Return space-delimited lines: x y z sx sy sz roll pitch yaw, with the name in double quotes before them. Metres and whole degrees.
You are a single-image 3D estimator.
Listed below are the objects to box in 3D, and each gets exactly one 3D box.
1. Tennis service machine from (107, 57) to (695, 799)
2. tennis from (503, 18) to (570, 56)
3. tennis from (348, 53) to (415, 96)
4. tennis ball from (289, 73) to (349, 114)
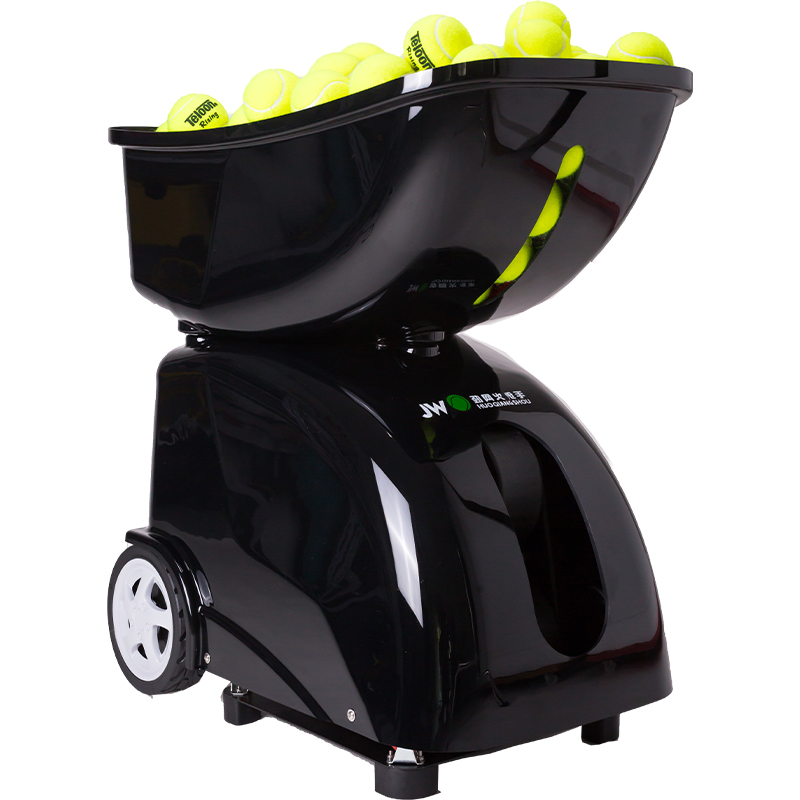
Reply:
"Tennis service machine" 0.138 0.007 1.406 0.938 0.690 0.913 5 -84 44
"tennis" 0.138 -0.356 0.893 0.068 0.125 0.032 5 -56 6
"tennis" -0.031 -0.356 0.965 0.077 0.065 0.026 -13 -59 18
"tennis ball" -0.097 -0.354 1.009 0.074 0.064 0.027 -13 -58 17
